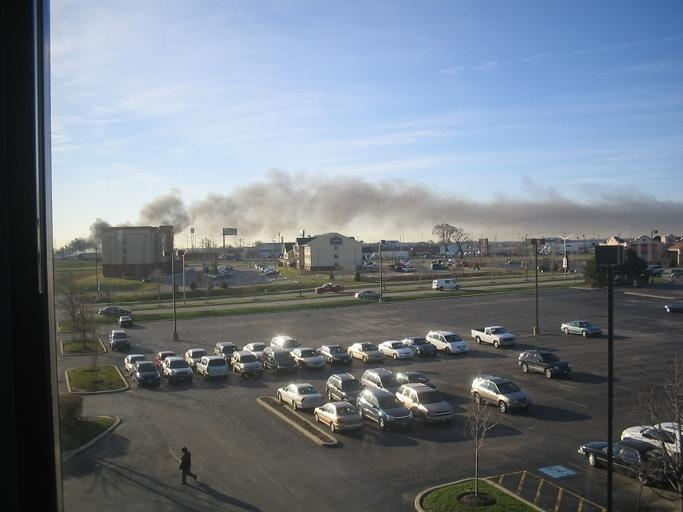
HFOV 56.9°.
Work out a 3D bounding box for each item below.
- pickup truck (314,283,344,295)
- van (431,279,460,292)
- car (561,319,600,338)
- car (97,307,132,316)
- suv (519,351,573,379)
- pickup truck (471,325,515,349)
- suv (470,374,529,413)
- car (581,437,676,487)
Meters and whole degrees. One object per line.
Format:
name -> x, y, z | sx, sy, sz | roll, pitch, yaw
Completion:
pickup truck -> -1.350, 3.617, 69.961 | 2.955, 0.894, 3.631 | -1, 2, -1
van -> 11.322, 3.117, 68.159 | 2.563, 1.035, 1.268 | -3, 6, -9
car -> 15.292, 4.648, 40.211 | 1.099, 0.706, 1.863 | -3, 1, -33
car -> -18.257, 4.456, 50.504 | 2.244, 0.761, 1.051 | 0, 3, -6
suv -> 9.541, 5.096, 29.671 | 1.027, 0.914, 1.962 | -3, -3, -30
pickup truck -> 9.152, 4.808, 37.555 | 1.067, 0.782, 2.067 | -3, -1, -24
suv -> 6.098, 5.238, 24.176 | 0.914, 0.757, 1.879 | -2, -3, -25
car -> 7.942, 5.653, 17.267 | 0.882, 0.635, 2.079 | 6, 6, -32
